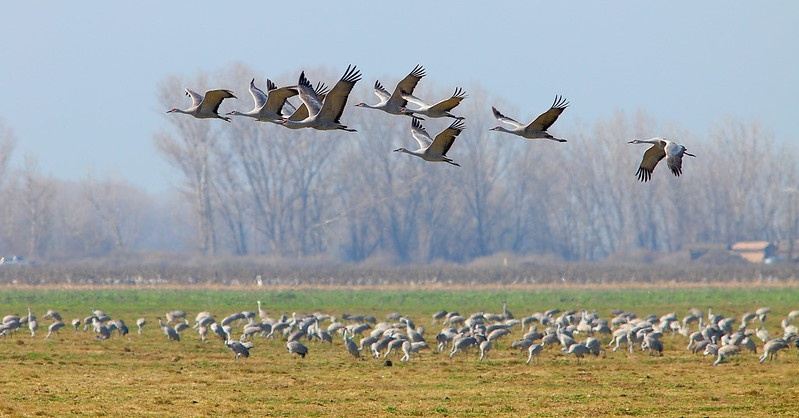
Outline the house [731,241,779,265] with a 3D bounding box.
[{"bbox_3d":[30.079,3.128,130.402,2.275,1.330,3.049,13,-11,-38],"label":"house"}]
